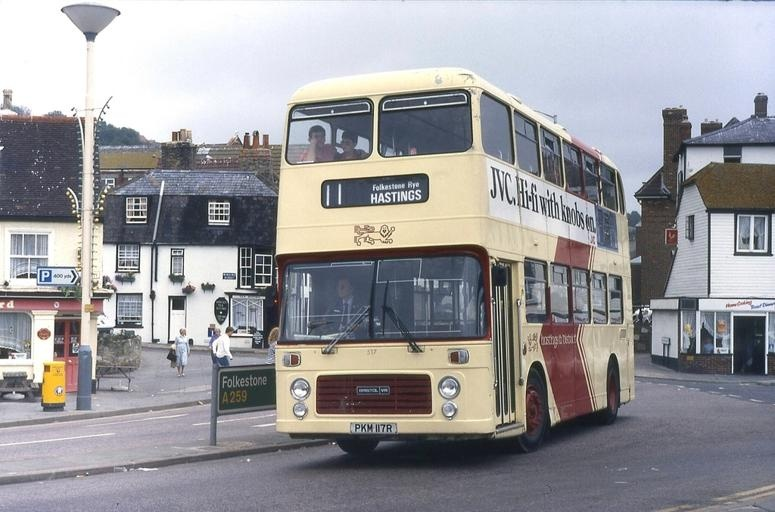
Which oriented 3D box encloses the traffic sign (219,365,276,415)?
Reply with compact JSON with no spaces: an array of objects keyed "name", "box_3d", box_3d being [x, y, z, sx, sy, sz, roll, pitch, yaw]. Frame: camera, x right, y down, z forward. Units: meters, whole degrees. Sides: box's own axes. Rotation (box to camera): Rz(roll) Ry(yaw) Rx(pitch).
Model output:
[{"name":"traffic sign","box_3d":[-3.808,3.574,37.239,1.898,1.281,0.342,2,-2,-42]}]
